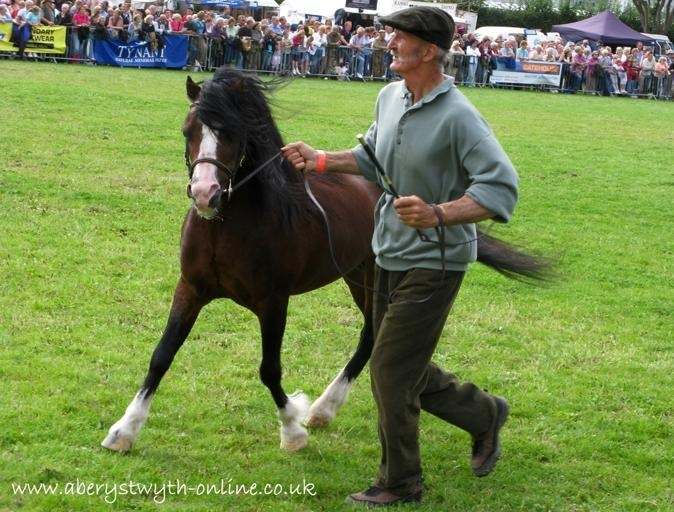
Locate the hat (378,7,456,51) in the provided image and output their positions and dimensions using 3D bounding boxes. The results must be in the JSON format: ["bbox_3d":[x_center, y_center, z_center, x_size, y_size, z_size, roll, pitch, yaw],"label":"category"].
[{"bbox_3d":[0.563,-1.553,5.728,0.418,0.176,0.317,8,19,2],"label":"hat"}]

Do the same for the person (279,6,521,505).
[{"bbox_3d":[0.598,0.029,5.996,1.457,3.494,0.826,7,10,8],"label":"person"}]

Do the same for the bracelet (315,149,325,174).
[{"bbox_3d":[-0.129,-0.701,6.210,0.052,0.118,0.099,1,2,-21],"label":"bracelet"}]

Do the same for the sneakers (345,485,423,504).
[{"bbox_3d":[0.368,1.712,6.074,0.471,0.124,0.173,2,2,-3],"label":"sneakers"}]

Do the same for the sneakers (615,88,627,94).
[{"bbox_3d":[10.272,-5.890,30.557,0.515,0.177,0.164,0,21,9],"label":"sneakers"}]
